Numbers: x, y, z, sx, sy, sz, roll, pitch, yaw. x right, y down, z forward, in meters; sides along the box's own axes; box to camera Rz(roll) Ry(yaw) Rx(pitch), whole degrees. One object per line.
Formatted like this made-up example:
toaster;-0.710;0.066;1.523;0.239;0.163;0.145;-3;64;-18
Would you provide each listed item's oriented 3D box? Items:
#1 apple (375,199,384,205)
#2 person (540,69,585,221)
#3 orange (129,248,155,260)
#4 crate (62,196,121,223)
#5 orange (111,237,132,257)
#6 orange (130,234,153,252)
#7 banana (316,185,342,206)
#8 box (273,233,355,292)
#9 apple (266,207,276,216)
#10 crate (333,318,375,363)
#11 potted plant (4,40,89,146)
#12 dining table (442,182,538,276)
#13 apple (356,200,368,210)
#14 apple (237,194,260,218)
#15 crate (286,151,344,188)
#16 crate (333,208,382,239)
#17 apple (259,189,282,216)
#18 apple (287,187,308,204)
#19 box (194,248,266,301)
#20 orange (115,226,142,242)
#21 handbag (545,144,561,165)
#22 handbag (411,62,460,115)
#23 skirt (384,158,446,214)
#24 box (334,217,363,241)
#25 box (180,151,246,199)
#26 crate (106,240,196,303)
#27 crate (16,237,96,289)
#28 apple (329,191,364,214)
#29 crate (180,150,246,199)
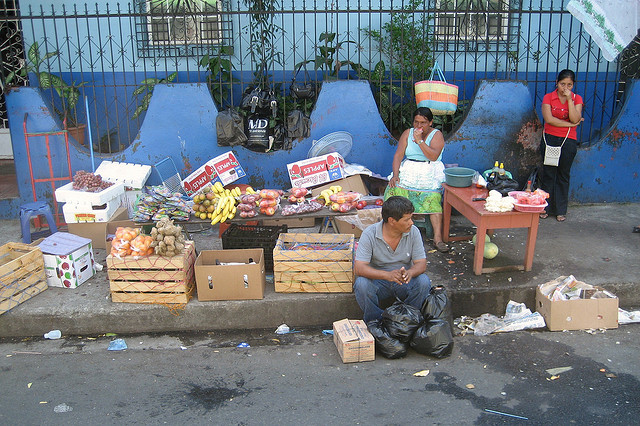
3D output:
apple;0.956;-0.182;7.382;0.098;0.112;0.096;-6;8;-27
person;4.084;-1.171;7.953;0.599;2.463;0.438;7;18;24
orange;-2.187;0.504;5.687;0.235;0.088;0.124;-10;53;-4
crate;-3.493;-0.027;7.350;0.634;0.392;0.908;-2;13;-2
orange;-2.472;0.419;5.752;0.204;0.085;0.209;29;54;12
orange;-2.197;0.355;5.715;0.201;0.116;0.206;1;15;-13
banana;0.147;-0.279;6.623;0.213;0.079;0.389;12;29;26
box;-0.090;0.657;5.883;1.075;0.572;0.721;1;8;3
apple;-0.643;-0.031;6.082;0.098;0.099;0.118;-15;3;2
crate;0.397;1.486;5.422;0.394;0.327;0.471;-4;16;-14
potted plant;-5.222;-2.365;9.030;1.108;2.057;2.412;-10;18;-30
dining table;2.415;0.234;6.557;0.669;0.712;1.149;-6;18;-12
apple;0.585;-0.133;6.395;0.154;0.074;0.091;-27;41;-26
apple;-0.941;-0.103;6.112;0.294;0.278;0.104;-4;-15;-6
crate;-0.062;-0.708;7.738;0.800;0.677;0.605;-6;26;-8
crate;0.598;0.132;7.149;0.515;0.318;0.516;-2;13;20
apple;-0.685;-0.138;6.219;0.258;0.166;0.332;6;58;1
apple;-0.309;-0.264;6.490;0.227;0.098;0.228;17;64;13
box;-1.140;0.771;5.931;0.857;0.582;0.416;0;16;0
orange;-2.470;0.262;5.922;0.211;0.085;0.210;-7;12;-26
handbag;4.053;-1.032;8.009;0.289;0.365;0.065;16;17;33
handbag;1.920;-2.073;7.646;0.778;0.949;0.496;3;-7;-5
skirt;1.596;-0.437;7.503;0.813;1.060;0.417;5;-2;9
box;0.430;0.211;7.172;0.370;0.233;0.374;6;17;6
box;-1.822;-0.691;8.034;1.180;0.645;0.242;-32;8;0
crate;-2.133;0.745;5.873;0.983;0.682;0.382;1;16;2
crate;-3.325;0.727;6.116;0.786;0.676;0.460;14;-29;-35
apple;0.359;-0.160;6.290;0.340;0.135;0.245;-9;24;-16
crate;-1.811;-0.662;7.914;1.067;0.842;0.582;27;-42;-36
